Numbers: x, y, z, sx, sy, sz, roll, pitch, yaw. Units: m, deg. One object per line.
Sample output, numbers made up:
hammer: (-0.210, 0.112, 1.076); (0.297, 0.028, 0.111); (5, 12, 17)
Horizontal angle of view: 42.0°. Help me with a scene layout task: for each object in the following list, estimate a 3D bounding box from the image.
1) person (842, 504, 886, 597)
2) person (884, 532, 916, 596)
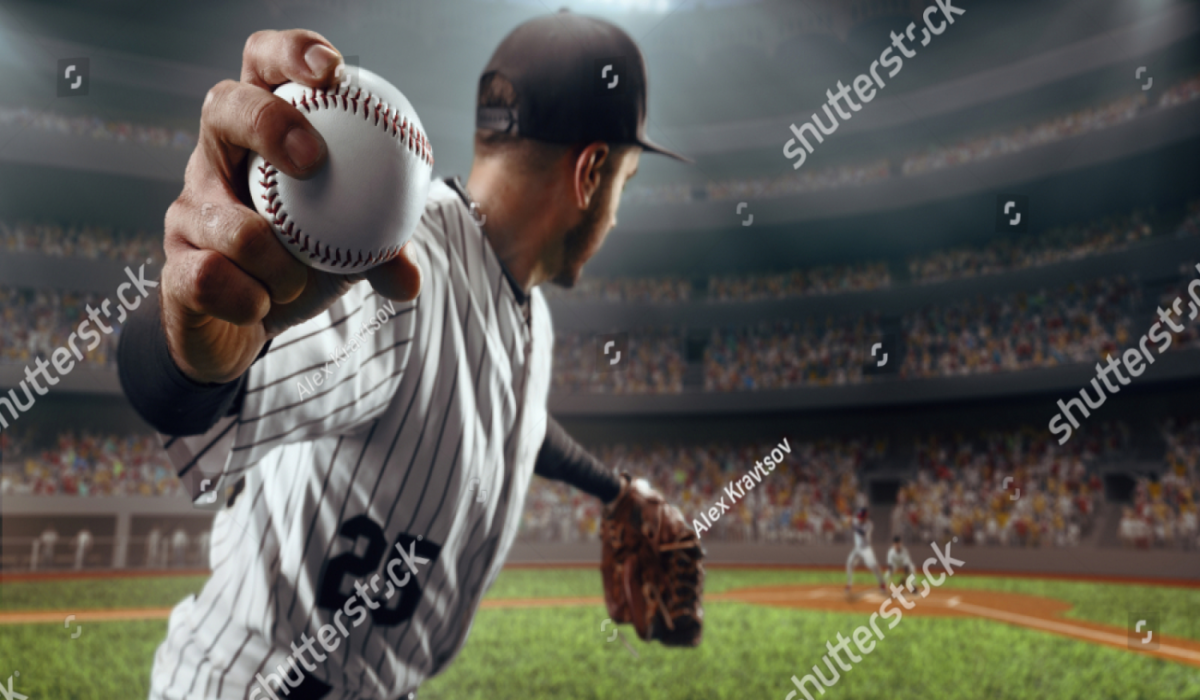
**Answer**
person: (5.920, 4.401, 34.822); (0.848, 1.895, 2.427); (-1, 3, 9)
person: (6.660, 4.681, 34.435); (0.679, 1.128, 2.846); (-1, 3, 11)
